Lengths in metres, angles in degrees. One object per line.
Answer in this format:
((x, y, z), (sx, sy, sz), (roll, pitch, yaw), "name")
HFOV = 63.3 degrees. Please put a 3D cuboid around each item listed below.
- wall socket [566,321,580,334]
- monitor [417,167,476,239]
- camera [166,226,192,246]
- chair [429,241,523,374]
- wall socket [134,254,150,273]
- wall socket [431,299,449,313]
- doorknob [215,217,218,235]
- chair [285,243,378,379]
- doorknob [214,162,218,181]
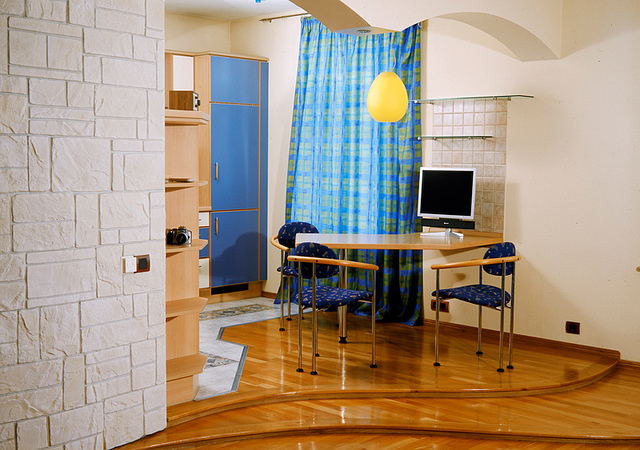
((2.411, 0.987, 4.947), (0.128, 0.121, 0.070), (3, 4, 41), "wall socket")
((1.279, -0.230, 5.204), (0.745, 0.837, 0.355), (2, 1, 26), "monitor")
((-1.036, 0.091, 3.854), (0.181, 0.127, 0.134), (1, -1, -28), "camera")
((1.411, 0.737, 4.758), (0.860, 1.044, 0.757), (4, -5, -29), "chair")
((-1.159, 0.258, 3.402), (0.024, 0.096, 0.105), (5, 3, 38), "wall socket")
((1.285, 0.874, 5.565), (0.201, 0.131, 0.043), (7, 15, 22), "wall socket")
((-1.254, 0.009, 6.289), (0.033, 0.192, 0.018), (-10, 18, -37), "doorknob")
((0.094, 0.723, 4.684), (0.829, 1.004, 0.687), (-5, -15, 4), "chair")
((-1.251, -0.648, 6.240), (0.023, 0.203, 0.060), (13, 18, 40), "doorknob")
